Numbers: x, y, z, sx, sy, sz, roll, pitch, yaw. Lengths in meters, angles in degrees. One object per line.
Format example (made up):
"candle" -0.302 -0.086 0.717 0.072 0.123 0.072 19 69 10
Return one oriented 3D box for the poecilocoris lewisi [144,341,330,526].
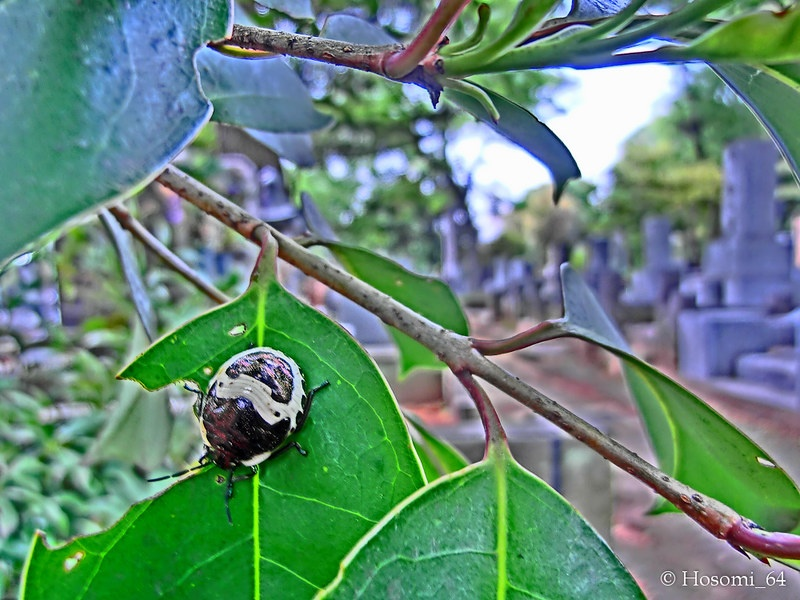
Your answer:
"poecilocoris lewisi" -0.153 0.127 1.013 0.131 0.096 0.165 30 -75 -6
